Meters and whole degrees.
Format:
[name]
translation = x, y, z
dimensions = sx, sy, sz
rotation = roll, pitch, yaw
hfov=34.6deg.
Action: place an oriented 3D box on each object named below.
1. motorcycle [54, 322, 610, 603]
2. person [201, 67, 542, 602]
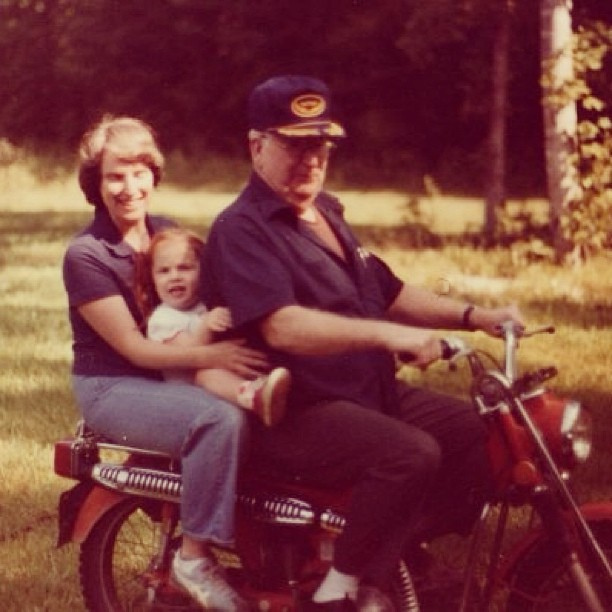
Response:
[motorcycle]
translation = 0.141, 0.586, 3.682
dimensions = 1.779, 1.192, 1.010
rotation = -1, -2, 17
[person]
translation = 0.190, 0.105, 3.281
dimensions = 0.978, 1.682, 0.732
rotation = 8, 11, 25
